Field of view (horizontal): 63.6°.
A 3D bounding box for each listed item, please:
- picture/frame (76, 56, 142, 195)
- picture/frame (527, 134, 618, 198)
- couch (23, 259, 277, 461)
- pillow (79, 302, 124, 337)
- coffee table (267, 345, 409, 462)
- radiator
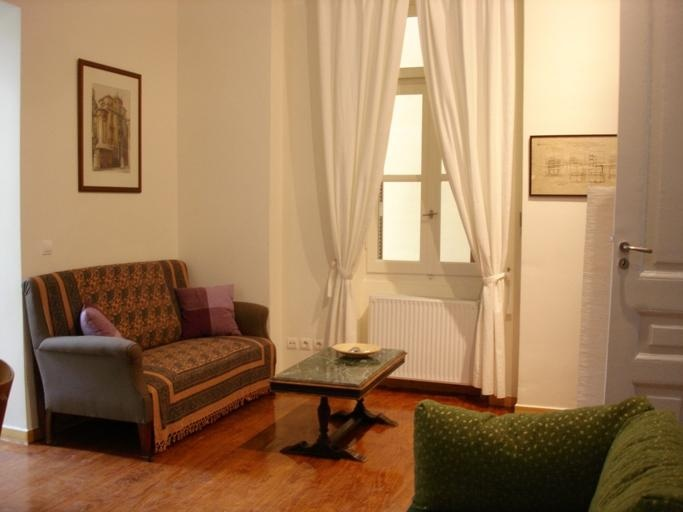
[{"bbox_3d":[-1.947,-1.068,4.655,0.039,1.045,0.721,3,7,24],"label":"picture/frame"},{"bbox_3d":[1.830,-0.711,4.289,0.583,0.438,0.021,1,6,14],"label":"picture/frame"},{"bbox_3d":[-1.454,0.672,4.603,1.132,1.241,1.999,-2,2,19],"label":"couch"},{"bbox_3d":[-1.773,0.491,4.015,0.276,0.250,0.251,-3,7,-21],"label":"pillow"},{"bbox_3d":[-0.038,0.946,3.813,0.597,0.540,1.076,0,2,18],"label":"coffee table"},{"bbox_3d":[0.723,0.729,4.754,0.742,0.600,0.117,3,7,14],"label":"radiator"}]
